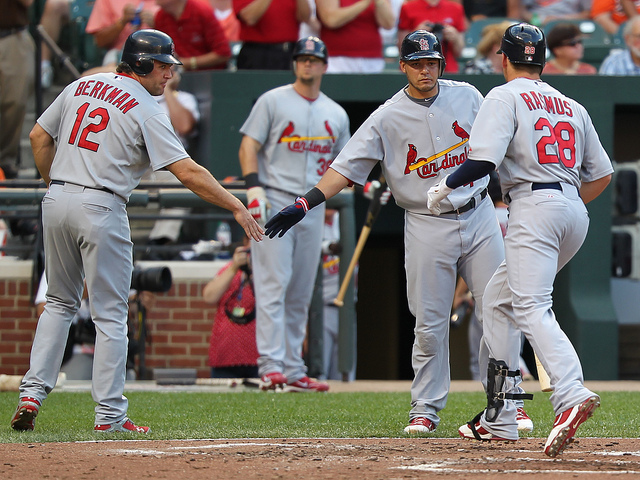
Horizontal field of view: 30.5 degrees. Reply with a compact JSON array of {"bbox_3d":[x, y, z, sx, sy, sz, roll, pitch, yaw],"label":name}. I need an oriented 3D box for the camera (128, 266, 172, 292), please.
[{"bbox_3d":[-1.361,0.306,9.250,0.357,0.195,0.284,1,-6,16],"label":"camera"}]

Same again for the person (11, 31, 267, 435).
[{"bbox_3d":[-1.301,-0.054,7.426,1.223,2.558,0.486,3,-6,1],"label":"person"}]

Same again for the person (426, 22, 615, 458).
[{"bbox_3d":[1.250,-0.046,7.026,0.947,2.605,0.764,2,-6,13],"label":"person"}]

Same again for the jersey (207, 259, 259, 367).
[{"bbox_3d":[-0.698,0.606,9.518,0.598,0.936,0.234,-1,2,-3],"label":"jersey"}]
